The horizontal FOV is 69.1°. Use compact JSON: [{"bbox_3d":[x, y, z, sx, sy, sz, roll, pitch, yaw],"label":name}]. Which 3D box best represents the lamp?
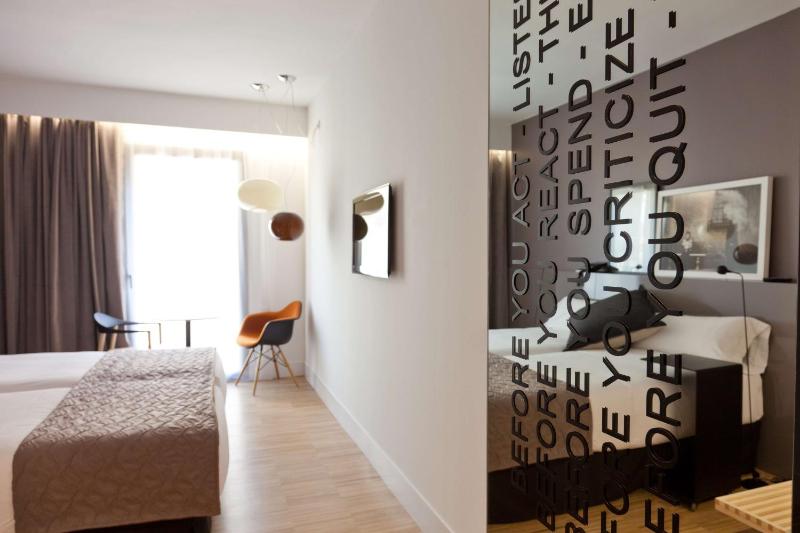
[{"bbox_3d":[-1.277,-1.064,5.728,0.649,1.583,0.576,2,-1,-17],"label":"lamp"}]

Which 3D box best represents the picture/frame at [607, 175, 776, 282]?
[{"bbox_3d":[1.083,-0.136,2.114,0.043,0.290,0.411,1,-1,-39],"label":"picture/frame"}]
